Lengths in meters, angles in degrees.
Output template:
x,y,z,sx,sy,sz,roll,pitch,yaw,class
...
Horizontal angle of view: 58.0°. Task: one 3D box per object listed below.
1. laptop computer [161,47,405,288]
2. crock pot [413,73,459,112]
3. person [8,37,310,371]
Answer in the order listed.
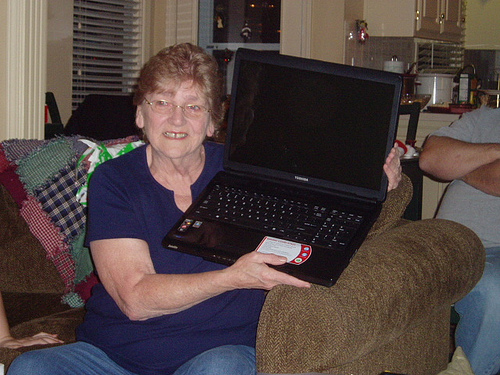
x,y,z,sx,sy,sz,roll,pitch,yaw,class
0.083,-0.090,1.197,0.542,0.363,0.549,10,34,20,laptop computer
1.685,-0.920,4.323,0.294,0.293,0.292,-5,5,0,crock pot
-0.248,0.046,1.286,0.715,0.878,0.511,3,16,4,person
